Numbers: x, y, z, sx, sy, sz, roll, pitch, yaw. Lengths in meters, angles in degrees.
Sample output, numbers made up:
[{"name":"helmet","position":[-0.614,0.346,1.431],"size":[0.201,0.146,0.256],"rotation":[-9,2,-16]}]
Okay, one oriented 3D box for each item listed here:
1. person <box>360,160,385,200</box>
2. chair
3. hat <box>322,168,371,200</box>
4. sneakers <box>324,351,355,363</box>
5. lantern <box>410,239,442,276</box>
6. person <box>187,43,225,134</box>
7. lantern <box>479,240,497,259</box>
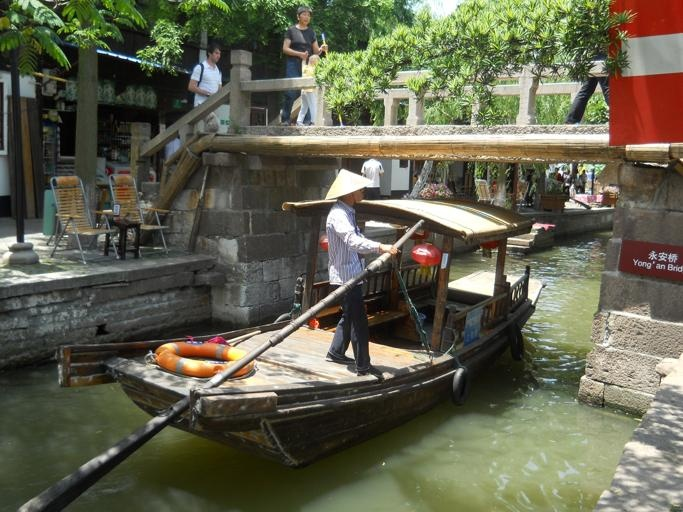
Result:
[{"name":"person","position":[0.824,-2.005,14.880],"size":[0.578,1.551,0.472],"rotation":[-2,28,5]},{"name":"chair","position":[-4.321,-0.697,9.864],"size":[2.191,1.545,1.339],"rotation":[5,6,42]},{"name":"hat","position":[0.064,-0.848,6.073],"size":[0.381,0.157,0.379],"rotation":[-20,-14,-31]},{"name":"sneakers","position":[-0.028,1.160,6.404],"size":[0.333,0.129,0.118],"rotation":[5,8,-12]},{"name":"lantern","position":[1.039,0.046,6.881],"size":[0.494,0.368,0.495],"rotation":[6,-1,14]},{"name":"person","position":[-2.556,-3.177,10.564],"size":[0.552,1.687,0.815],"rotation":[0,9,-14]},{"name":"lantern","position":[2.537,-0.113,9.779],"size":[0.259,0.291,0.320],"rotation":[12,27,21]}]
